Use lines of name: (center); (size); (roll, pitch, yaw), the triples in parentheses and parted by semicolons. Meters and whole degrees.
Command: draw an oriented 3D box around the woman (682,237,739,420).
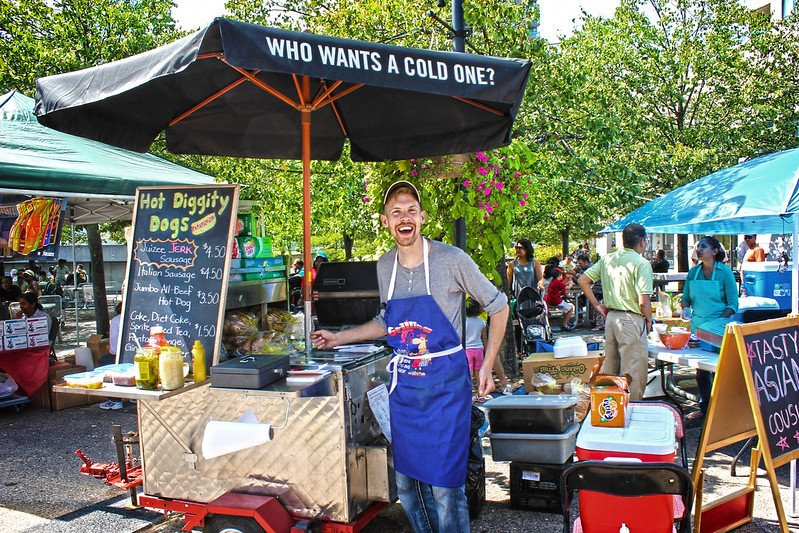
woman: (4.110, 0.833, 8.755); (0.892, 2.437, 0.750); (-7, 4, -37)

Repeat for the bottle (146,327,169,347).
bottle: (-2.187, 0.631, 5.950); (0.176, 0.198, 0.181); (0, -5, -8)

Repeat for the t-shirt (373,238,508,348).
t-shirt: (0.356, 0.207, 6.118); (1.344, 0.976, 0.495); (-3, 1, 16)

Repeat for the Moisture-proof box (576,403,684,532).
Moisture-proof box: (2.291, 1.756, 6.082); (0.848, 0.642, 1.174); (-6, 3, 35)

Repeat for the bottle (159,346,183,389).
bottle: (-2.006, 0.890, 5.748); (0.210, 0.375, 0.113); (2, -2, -16)

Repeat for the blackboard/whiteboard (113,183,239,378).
blackboard/whiteboard: (-2.152, 0.081, 6.323); (1.162, 1.729, 0.191); (1, -2, 17)

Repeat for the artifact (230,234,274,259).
artifact: (-1.507, -0.182, 6.714); (0.357, 0.211, 0.381); (-1, -12, -14)

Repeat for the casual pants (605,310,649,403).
casual pants: (2.876, 1.117, 8.420); (0.603, 1.100, 0.297); (0, -2, 33)

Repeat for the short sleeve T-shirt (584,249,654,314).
short sleeve T-shirt: (2.910, 0.208, 8.609); (0.427, 0.844, 1.033); (-5, 6, -37)

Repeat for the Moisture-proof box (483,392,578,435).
Moisture-proof box: (1.302, 1.475, 6.562); (0.646, 0.224, 0.459); (-6, -2, 23)

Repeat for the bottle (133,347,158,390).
bottle: (-2.229, 0.893, 5.768); (0.206, 0.358, 0.103); (1, -2, -8)

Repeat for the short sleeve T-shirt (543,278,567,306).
short sleeve T-shirt: (3.364, 0.550, 14.341); (0.556, 0.573, 0.318); (9, 6, 35)

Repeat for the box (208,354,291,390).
box: (-1.346, 0.948, 5.988); (0.564, 0.205, 0.555); (-3, 5, 22)
